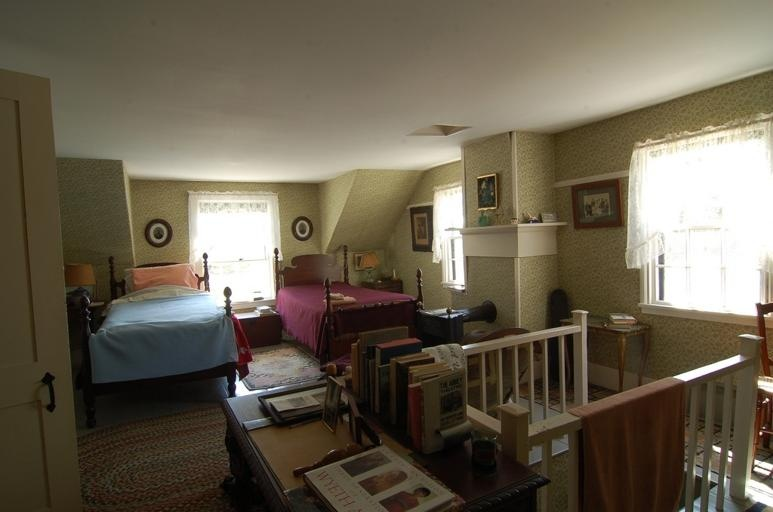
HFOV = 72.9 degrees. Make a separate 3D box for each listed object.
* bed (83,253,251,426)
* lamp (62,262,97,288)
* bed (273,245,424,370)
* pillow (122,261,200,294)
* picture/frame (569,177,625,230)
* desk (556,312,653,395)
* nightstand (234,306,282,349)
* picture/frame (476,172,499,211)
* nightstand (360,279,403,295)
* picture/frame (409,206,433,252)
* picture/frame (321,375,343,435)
[{"bbox_3d":[-2.777,0.851,6.539,1.564,1.350,2.371,-3,4,-24],"label":"bed"},{"bbox_3d":[-3.833,0.233,6.541,0.363,0.352,0.358,-3,-1,-5],"label":"lamp"},{"bbox_3d":[-0.671,0.656,7.651,1.355,1.323,2.091,-4,5,-27],"label":"bed"},{"bbox_3d":[-3.225,0.298,7.624,0.609,0.160,0.523,1,32,-39],"label":"pillow"},{"bbox_3d":[2.390,-0.600,5.883,0.050,0.594,0.641,-5,3,-32],"label":"picture/frame"},{"bbox_3d":[2.402,1.082,5.777,0.475,0.738,0.802,-4,4,-31],"label":"desk"},{"bbox_3d":[-1.876,1.095,7.909,0.563,0.350,0.560,-4,12,-25],"label":"nightstand"},{"bbox_3d":[1.251,-0.800,6.413,0.087,0.595,0.513,1,0,-26],"label":"picture/frame"},{"bbox_3d":[-0.011,0.499,9.214,0.454,0.293,0.412,0,5,-33],"label":"nightstand"},{"bbox_3d":[0.583,-0.462,8.516,0.060,0.809,0.713,-4,7,-25],"label":"picture/frame"},{"bbox_3d":[-0.351,0.990,3.406,0.059,0.430,0.331,0,0,-26],"label":"picture/frame"}]
